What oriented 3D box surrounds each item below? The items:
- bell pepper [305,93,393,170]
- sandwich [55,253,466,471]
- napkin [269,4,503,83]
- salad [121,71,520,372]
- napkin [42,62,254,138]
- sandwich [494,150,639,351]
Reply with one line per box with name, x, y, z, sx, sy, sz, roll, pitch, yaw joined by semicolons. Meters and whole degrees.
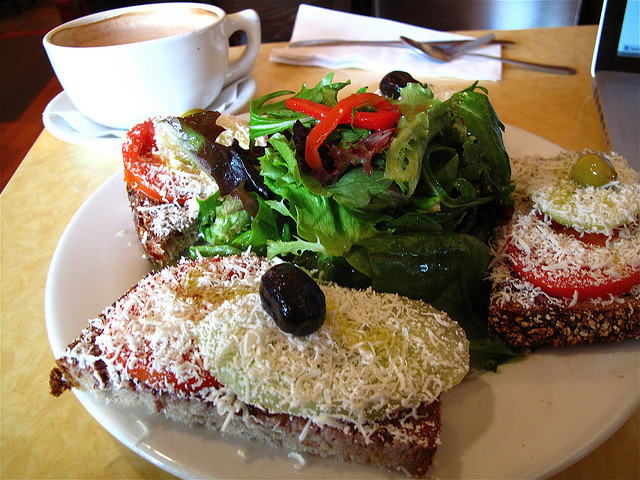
bell pepper;0.084;-0.356;1.646;0.284;0.206;0.152;20;31;38
sandwich;-0.129;0.211;1.346;0.795;0.294;0.533;11;39;12
napkin;0.253;-0.909;2.685;1.079;0.083;0.524;9;45;15
salad;0.045;-0.166;1.681;0.751;0.361;1.366;37;56;-4
napkin;-0.684;-0.591;2.172;0.518;0.252;0.712;18;31;37
sandwich;0.729;-0.011;1.577;0.386;0.264;0.602;14;54;14
